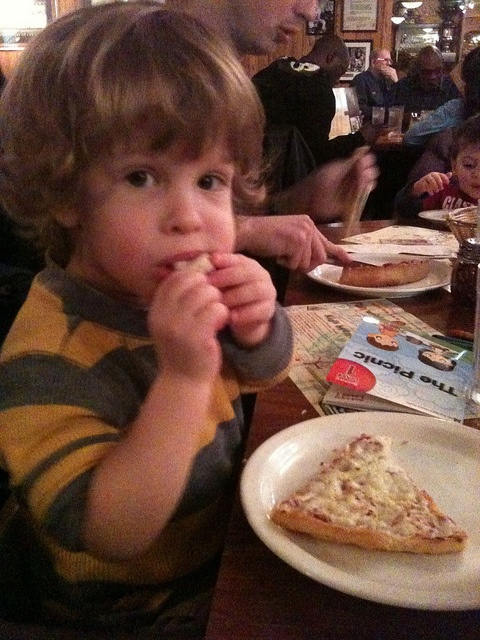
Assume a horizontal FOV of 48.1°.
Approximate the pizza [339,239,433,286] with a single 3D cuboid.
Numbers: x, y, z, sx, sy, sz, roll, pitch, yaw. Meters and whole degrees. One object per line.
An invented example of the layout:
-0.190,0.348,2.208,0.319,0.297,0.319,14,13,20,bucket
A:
0.326,-0.120,1.213,0.158,0.052,0.110,-12,21,-24,pizza
